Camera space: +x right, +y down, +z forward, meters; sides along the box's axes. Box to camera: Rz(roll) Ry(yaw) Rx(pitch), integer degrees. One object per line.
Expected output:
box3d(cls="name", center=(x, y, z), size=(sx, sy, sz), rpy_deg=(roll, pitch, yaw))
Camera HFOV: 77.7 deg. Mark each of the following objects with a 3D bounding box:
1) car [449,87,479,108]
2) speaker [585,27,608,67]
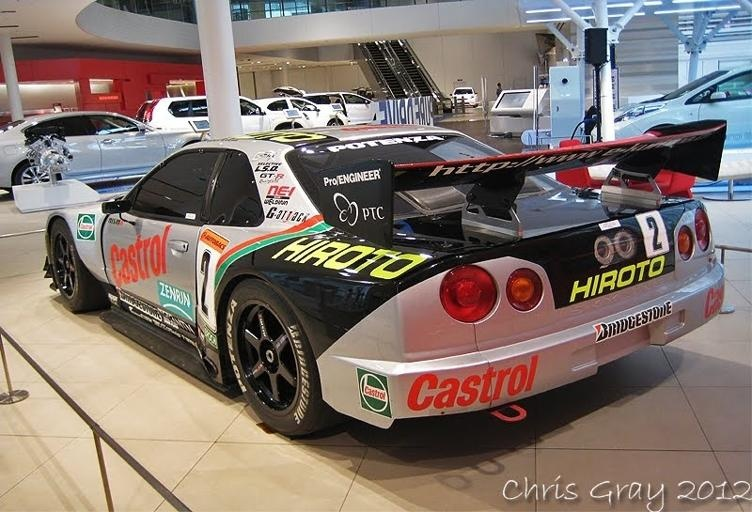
box3d(cls="car", center=(5.611, -9.953, 29.596), size=(1.376, 1.050, 2.230), rpy_deg=(0, 13, 12))
box3d(cls="speaker", center=(3.832, -3.628, 8.154), size=(0.420, 0.580, 0.277), rpy_deg=(-1, 18, 12))
